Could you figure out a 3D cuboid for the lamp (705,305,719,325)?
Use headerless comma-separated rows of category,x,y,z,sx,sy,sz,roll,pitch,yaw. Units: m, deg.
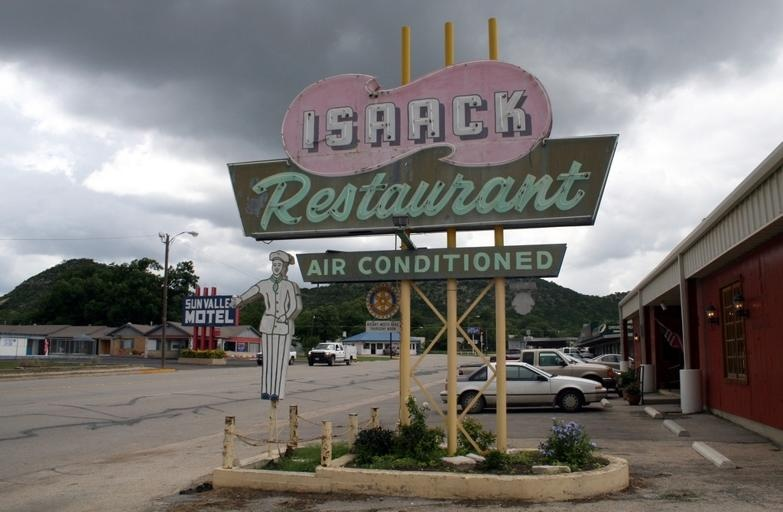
lamp,10.451,1.920,21.127,0.290,0.603,0.535,-1,-10,10

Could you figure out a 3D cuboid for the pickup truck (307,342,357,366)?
pickup truck,-5.554,8.750,57.786,1.778,1.987,4.299,-5,-12,30

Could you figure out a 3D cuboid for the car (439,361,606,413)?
car,4.780,4.809,23.711,4.972,1.870,3.034,7,-12,-30

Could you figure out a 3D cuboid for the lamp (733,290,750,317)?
lamp,10.281,1.409,19.067,0.319,0.845,0.569,-2,-10,17
